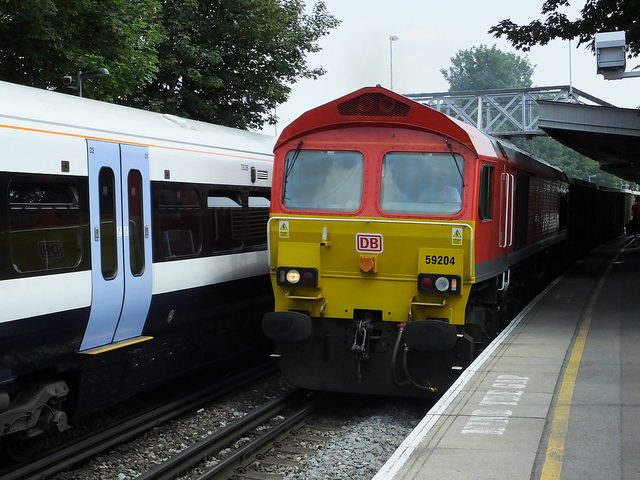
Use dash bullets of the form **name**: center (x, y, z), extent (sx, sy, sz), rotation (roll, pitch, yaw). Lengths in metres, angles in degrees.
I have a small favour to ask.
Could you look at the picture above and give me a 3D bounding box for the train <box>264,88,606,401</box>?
- **train**: center (3.078, 0.049, 11.612), extent (2.527, 3.649, 10.939), rotation (0, 2, 24)
